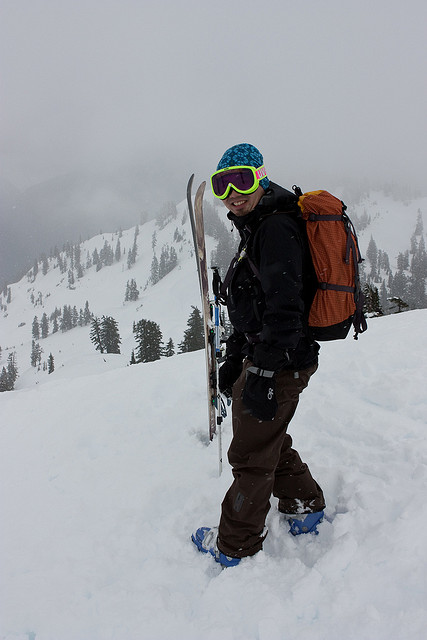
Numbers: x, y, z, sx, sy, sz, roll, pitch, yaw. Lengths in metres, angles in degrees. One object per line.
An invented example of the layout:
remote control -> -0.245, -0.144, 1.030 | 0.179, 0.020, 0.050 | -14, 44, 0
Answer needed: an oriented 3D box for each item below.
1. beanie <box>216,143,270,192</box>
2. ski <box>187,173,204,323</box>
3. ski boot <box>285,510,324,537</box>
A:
beanie -> 0.233, -1.148, 5.030 | 0.381, 0.438, 0.503 | -1, -10, 16
ski -> -0.195, -0.730, 6.281 | 0.209, 1.362, 0.257 | -11, 20, -34
ski boot -> 0.734, 1.642, 5.162 | 0.311, 0.175, 0.150 | -9, 10, 10
